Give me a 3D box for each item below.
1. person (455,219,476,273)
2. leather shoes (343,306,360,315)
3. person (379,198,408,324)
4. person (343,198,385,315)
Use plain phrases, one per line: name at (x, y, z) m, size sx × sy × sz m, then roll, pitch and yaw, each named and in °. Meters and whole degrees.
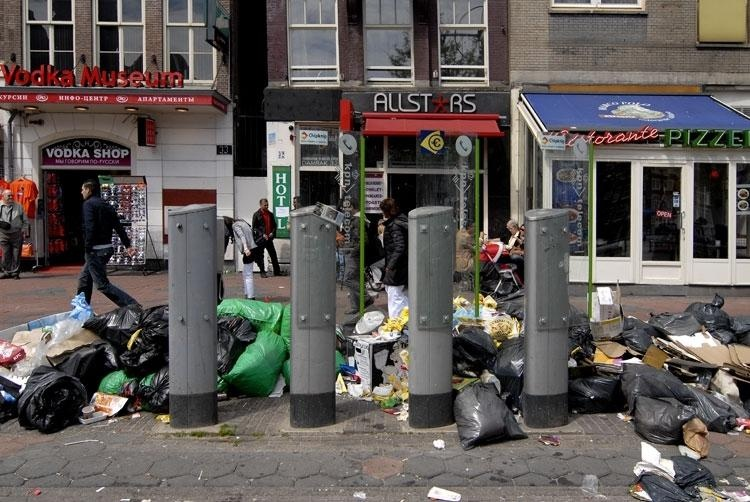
person at (1.450, -0.064, 12.548) m, size 0.328 × 0.813 × 0.112 m, roll -4°, pitch 5°, yaw -12°
leather shoes at (-0.447, 1.110, 14.684) m, size 0.210 × 0.090 × 0.123 m, roll 5°, pitch 3°, yaw 28°
person at (0.295, 0.113, 12.912) m, size 0.517 × 1.963 × 0.452 m, roll 0°, pitch 6°, yaw 27°
person at (-0.230, 0.161, 14.119) m, size 0.800 × 2.588 × 0.918 m, roll 0°, pitch 35°, yaw 1°
